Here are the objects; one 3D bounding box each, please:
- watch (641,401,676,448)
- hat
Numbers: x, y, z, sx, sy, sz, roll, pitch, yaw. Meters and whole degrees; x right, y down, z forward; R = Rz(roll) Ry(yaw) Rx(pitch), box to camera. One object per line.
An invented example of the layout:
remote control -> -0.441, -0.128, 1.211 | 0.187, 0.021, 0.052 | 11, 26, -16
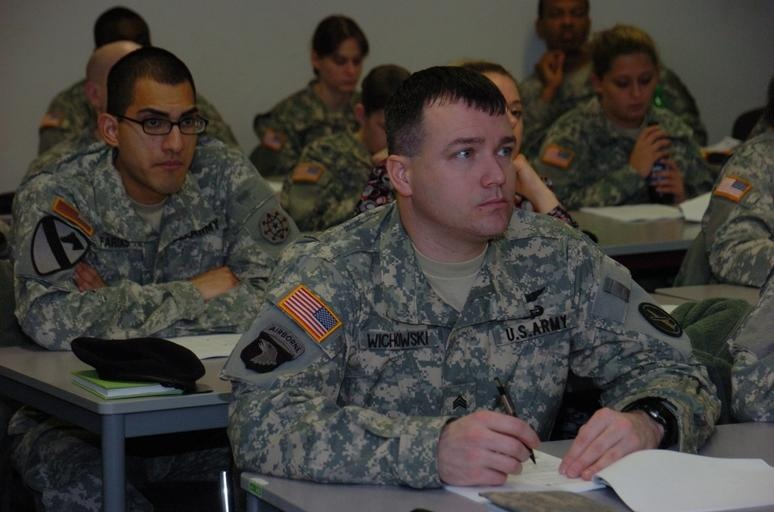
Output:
watch -> 0.808, 0.510, 2.255 | 0.098, 0.118, 0.048 | -2, -13, -8
hat -> -0.842, 0.353, 2.590 | 0.294, 0.074, 0.240 | 24, -6, -8
